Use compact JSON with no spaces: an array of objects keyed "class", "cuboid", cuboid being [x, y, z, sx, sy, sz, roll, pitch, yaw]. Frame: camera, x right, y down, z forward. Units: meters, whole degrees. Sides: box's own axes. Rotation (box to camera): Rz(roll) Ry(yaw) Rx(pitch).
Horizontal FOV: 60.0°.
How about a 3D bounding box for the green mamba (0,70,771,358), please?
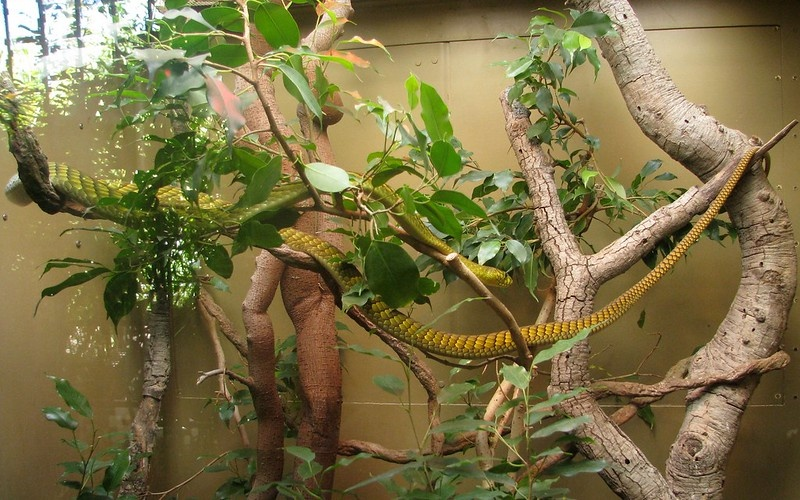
[{"class":"green mamba","cuboid":[-0.056,-0.117,3.545,3.547,1.451,0.923,-5,-7,-12]}]
